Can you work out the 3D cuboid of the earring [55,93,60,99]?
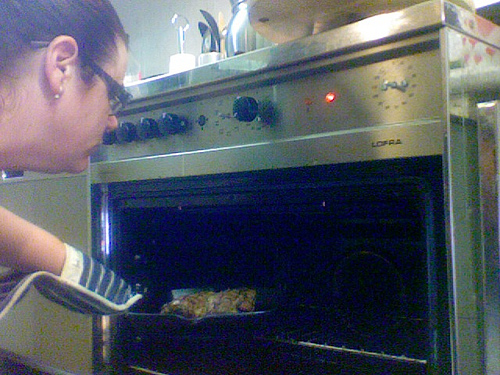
[{"bbox_3d":[-0.346,-0.165,0.751,0.010,0.009,0.002,4,7,-11],"label":"earring"}]
